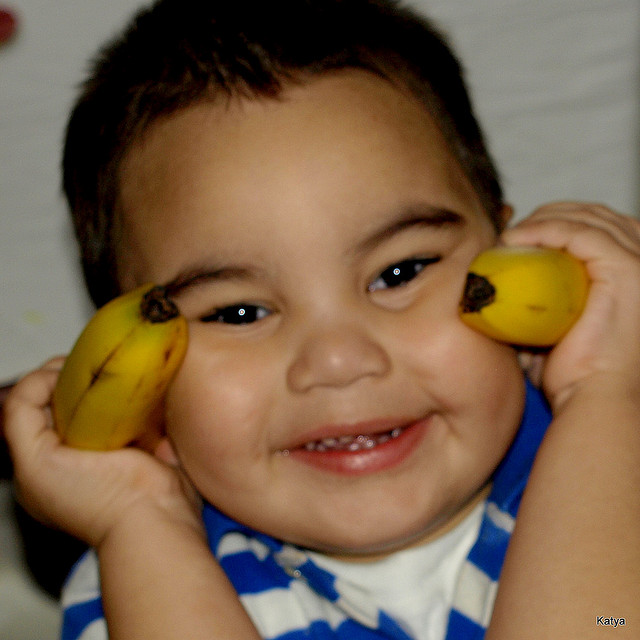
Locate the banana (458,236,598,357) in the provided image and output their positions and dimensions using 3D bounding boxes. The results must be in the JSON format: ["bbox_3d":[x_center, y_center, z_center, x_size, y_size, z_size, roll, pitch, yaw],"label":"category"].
[{"bbox_3d":[0.375,-0.062,1.383,0.237,0.156,0.305,9,13,43],"label":"banana"}]
